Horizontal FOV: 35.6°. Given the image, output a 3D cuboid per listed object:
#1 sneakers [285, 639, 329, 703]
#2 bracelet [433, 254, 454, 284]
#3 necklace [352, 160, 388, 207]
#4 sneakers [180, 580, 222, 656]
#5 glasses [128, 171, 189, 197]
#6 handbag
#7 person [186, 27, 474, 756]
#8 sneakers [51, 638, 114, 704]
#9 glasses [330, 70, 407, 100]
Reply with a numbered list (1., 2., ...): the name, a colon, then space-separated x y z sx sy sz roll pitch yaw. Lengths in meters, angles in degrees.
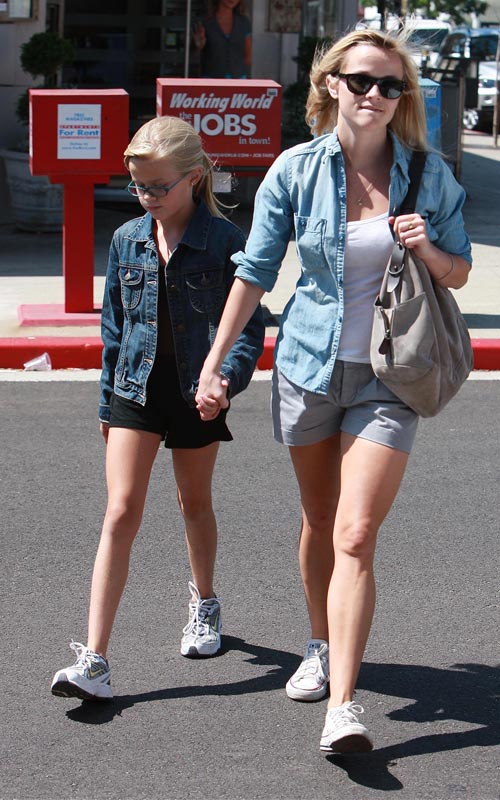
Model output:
1. sneakers: 0.169 0.781 2.228 0.089 0.088 0.213 12 17 8
2. bracelet: 0.458 -0.316 1.879 0.016 0.056 0.061 11 -32 -7
3. necklace: 0.290 -0.519 1.887 0.097 0.090 0.028 -4 -14 6
4. sneakers: -0.166 0.739 2.614 0.115 0.189 0.319 -1 6 7
5. glasses: -0.241 -0.613 2.176 0.122 0.034 0.122 6 38 35
6. handbag: 0.389 -0.171 1.821 0.129 0.347 0.312 -10 29 29
7. person: 0.209 -0.008 1.973 0.651 1.812 0.565 9 10 44
8. sneakers: -0.447 0.729 2.074 0.100 0.130 0.227 -7 -23 15
9. glasses: 0.284 -0.730 1.803 0.131 0.071 0.060 4 7 12
